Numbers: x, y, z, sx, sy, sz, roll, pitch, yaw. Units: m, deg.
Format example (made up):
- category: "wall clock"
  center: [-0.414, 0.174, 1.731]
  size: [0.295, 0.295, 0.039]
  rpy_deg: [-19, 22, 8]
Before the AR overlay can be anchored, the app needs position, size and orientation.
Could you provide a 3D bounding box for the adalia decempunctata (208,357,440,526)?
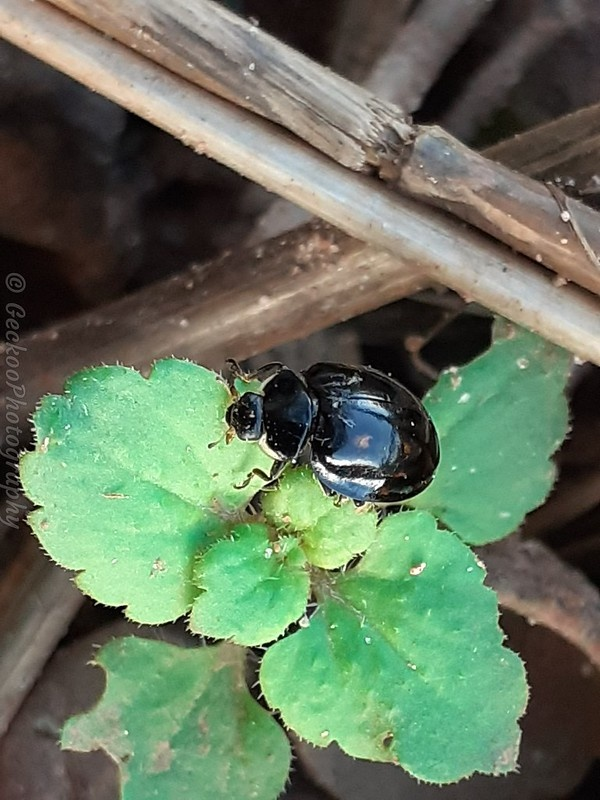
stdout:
- category: "adalia decempunctata"
  center: [0.023, 0.040, 0.900]
  size: [0.240, 0.174, 0.130]
  rpy_deg: [9, 41, 17]
